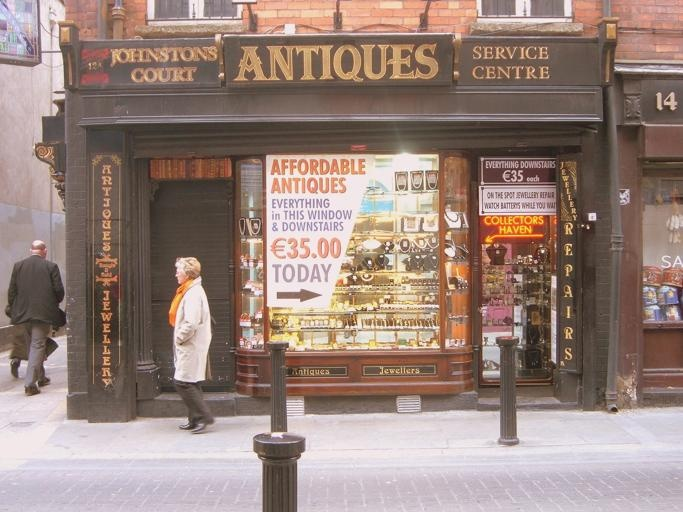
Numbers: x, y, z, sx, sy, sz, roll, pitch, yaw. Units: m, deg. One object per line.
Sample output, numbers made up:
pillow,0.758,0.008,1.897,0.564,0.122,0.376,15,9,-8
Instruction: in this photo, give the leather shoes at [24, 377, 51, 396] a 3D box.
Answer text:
leather shoes,-4.709,2.018,19.130,0.219,0.259,0.638,2,8,14

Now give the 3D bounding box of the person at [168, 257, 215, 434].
person,-2.080,1.241,17.349,0.553,2.431,0.447,0,-3,-24

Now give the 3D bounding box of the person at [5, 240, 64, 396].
person,-4.747,0.946,19.203,0.897,2.385,0.900,0,-3,-15

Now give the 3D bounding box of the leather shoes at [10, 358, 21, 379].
leather shoes,-5.293,1.821,20.095,0.122,0.345,0.243,3,5,-12

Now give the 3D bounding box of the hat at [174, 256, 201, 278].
hat,-2.172,0.170,17.445,0.378,0.285,0.307,4,-41,-4
